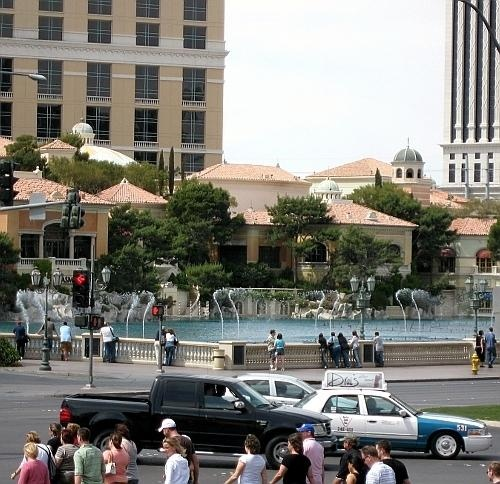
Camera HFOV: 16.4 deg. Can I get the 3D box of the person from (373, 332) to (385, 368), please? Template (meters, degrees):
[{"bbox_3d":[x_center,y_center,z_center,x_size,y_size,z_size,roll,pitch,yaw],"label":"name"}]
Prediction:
[{"bbox_3d":[5.660,4.689,74.903,0.423,1.454,1.117,-1,-5,4],"label":"person"}]

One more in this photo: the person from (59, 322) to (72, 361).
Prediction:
[{"bbox_3d":[-7.914,4.296,74.480,0.533,1.663,2.349,-1,-5,-6],"label":"person"}]

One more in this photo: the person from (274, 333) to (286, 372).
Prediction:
[{"bbox_3d":[1.291,4.608,71.720,0.419,1.476,0.971,-1,-5,0],"label":"person"}]

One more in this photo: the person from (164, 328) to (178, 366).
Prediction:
[{"bbox_3d":[-3.267,4.459,72.496,0.579,1.485,1.076,-1,-5,-3],"label":"person"}]

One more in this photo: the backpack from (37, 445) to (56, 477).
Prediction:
[{"bbox_3d":[-5.564,5.962,47.366,0.405,0.979,0.842,-2,-5,12],"label":"backpack"}]

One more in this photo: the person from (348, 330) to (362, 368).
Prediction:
[{"bbox_3d":[4.635,4.647,74.347,0.493,1.561,1.516,-1,-5,3],"label":"person"}]

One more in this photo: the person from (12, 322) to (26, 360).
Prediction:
[{"bbox_3d":[-9.917,4.307,74.862,0.638,1.589,3.271,0,-5,-8],"label":"person"}]
